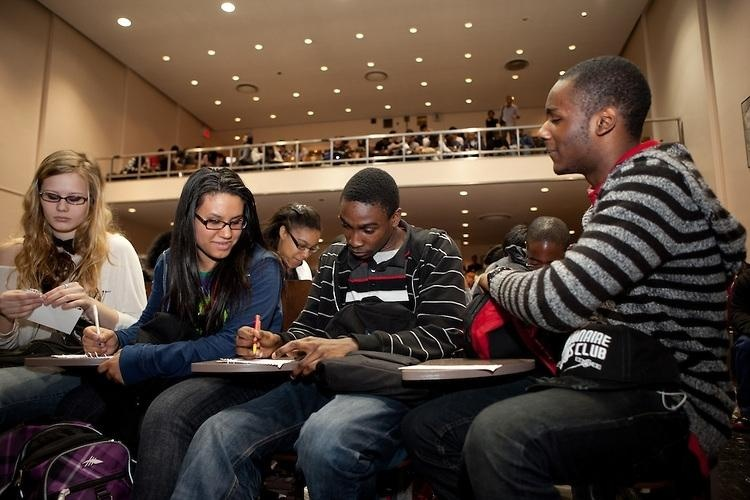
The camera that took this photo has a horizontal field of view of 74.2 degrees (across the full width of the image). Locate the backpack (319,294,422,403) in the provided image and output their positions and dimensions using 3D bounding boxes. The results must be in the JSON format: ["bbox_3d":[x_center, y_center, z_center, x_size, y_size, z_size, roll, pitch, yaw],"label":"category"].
[{"bbox_3d":[-0.024,0.444,2.377,0.381,0.178,0.493,0,7,2],"label":"backpack"}]

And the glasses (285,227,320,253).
[{"bbox_3d":[-0.618,-0.072,4.090,0.203,0.099,0.249,15,-11,-36],"label":"glasses"}]

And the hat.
[{"bbox_3d":[0.876,0.424,1.870,0.394,0.157,0.278,9,-18,-10],"label":"hat"}]
